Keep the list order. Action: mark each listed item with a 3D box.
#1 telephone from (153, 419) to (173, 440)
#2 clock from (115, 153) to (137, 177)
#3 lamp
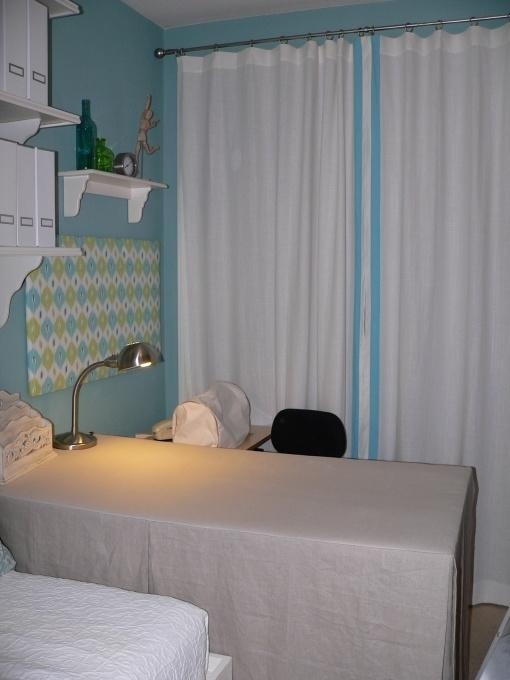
[{"bbox_3d":[-0.408,0.390,2.491,0.079,0.067,0.080,1,-2,-43],"label":"telephone"},{"bbox_3d":[-0.552,-0.756,2.411,0.048,0.107,0.146,2,9,20],"label":"clock"},{"bbox_3d":[-0.570,0.217,2.108,0.334,0.435,0.175,8,-8,-13],"label":"lamp"}]
